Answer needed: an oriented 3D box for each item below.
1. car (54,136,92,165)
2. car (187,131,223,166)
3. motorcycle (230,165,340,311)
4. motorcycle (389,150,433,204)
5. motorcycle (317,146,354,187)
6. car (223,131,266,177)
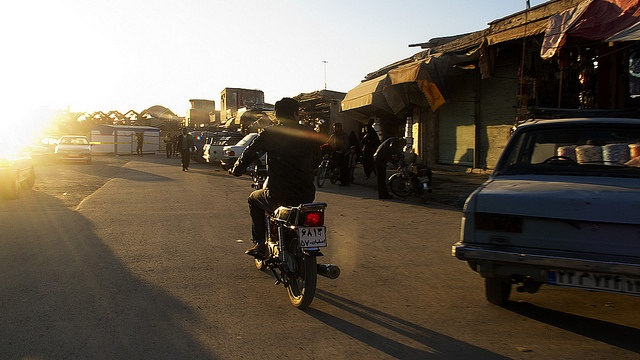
[{"bbox_3d":[-17.125,-2.214,30.662,1.886,1.351,3.140,1,-1,-21],"label":"car"},{"bbox_3d":[-8.572,-2.476,32.661,2.640,1.698,3.727,-2,8,-5],"label":"car"},{"bbox_3d":[-0.295,0.985,6.111,0.488,1.433,1.320,-9,16,-33],"label":"motorcycle"},{"bbox_3d":[2.848,-0.089,13.712,0.587,1.507,1.649,-5,14,-23],"label":"motorcycle"},{"bbox_3d":[0.588,-0.507,17.853,1.227,1.112,2.014,2,3,42],"label":"motorcycle"},{"bbox_3d":[-4.439,-1.138,23.725,1.757,2.879,1.517,-29,-12,20],"label":"car"}]
